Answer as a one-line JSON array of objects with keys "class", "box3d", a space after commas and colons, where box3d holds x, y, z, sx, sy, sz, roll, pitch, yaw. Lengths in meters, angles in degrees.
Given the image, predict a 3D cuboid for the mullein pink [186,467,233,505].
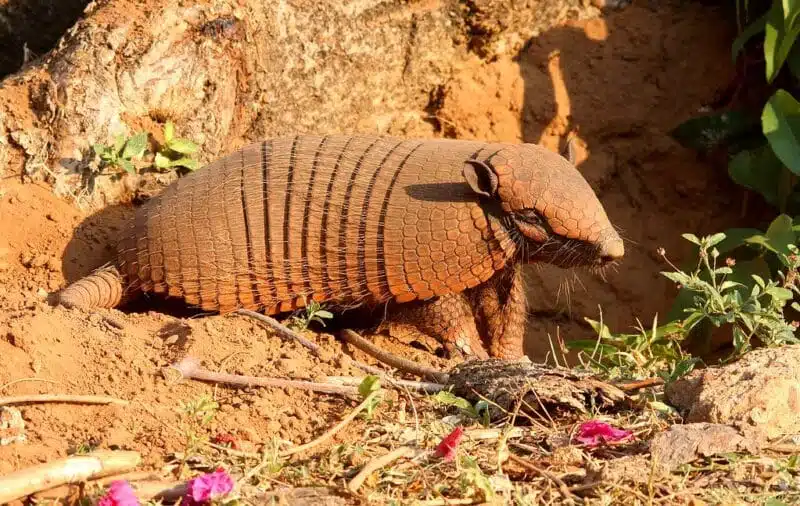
[{"class": "mullein pink", "box3d": [-0.939, 1.147, 4.621, 0.194, 0.078, 0.148, -24, 72, -5]}]
